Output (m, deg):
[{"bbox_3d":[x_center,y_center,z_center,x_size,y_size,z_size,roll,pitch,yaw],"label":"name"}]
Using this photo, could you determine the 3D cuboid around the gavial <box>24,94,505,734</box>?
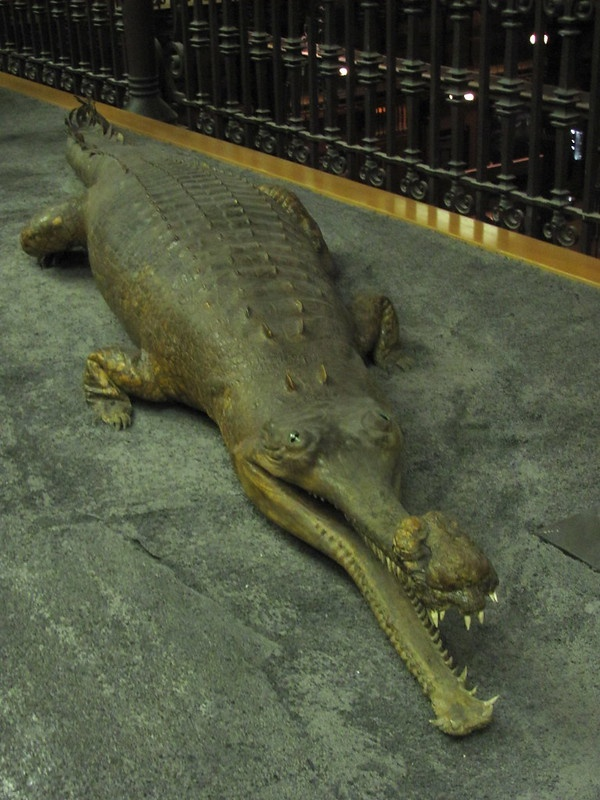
[{"bbox_3d":[-0.144,-0.131,2.817,0.939,0.538,2.445,-19,50,-23],"label":"gavial"}]
